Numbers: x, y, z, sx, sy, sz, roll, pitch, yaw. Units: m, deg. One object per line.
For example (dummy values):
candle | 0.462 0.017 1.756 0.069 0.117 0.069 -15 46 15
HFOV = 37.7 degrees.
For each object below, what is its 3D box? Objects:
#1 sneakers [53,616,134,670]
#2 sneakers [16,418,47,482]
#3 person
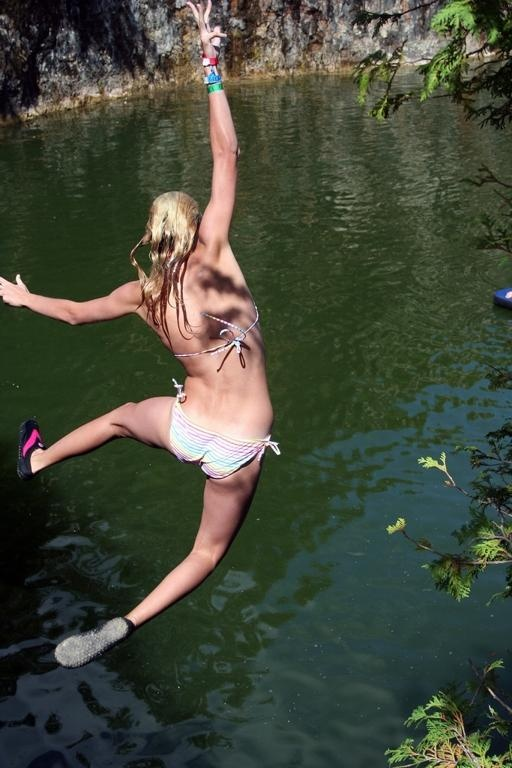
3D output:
sneakers | -0.737 1.148 3.332 0.385 0.054 0.169 -20 55 -31
sneakers | -1.427 0.395 4.628 0.154 0.425 0.179 11 -27 -33
person | -0.428 -0.224 3.572 0.924 3.062 1.372 -5 20 0
